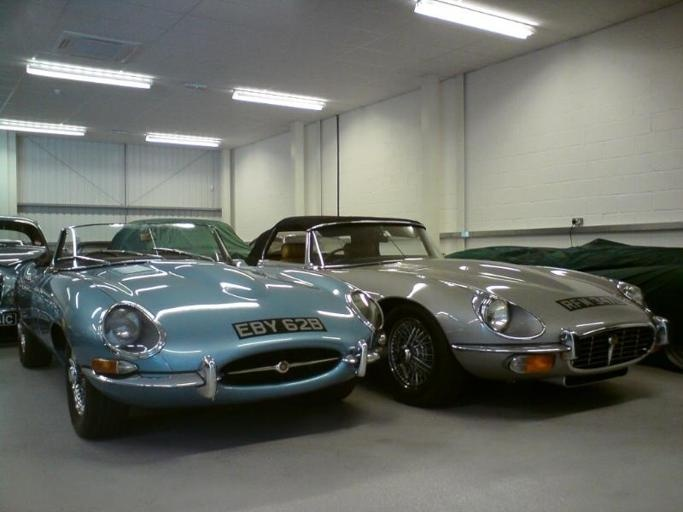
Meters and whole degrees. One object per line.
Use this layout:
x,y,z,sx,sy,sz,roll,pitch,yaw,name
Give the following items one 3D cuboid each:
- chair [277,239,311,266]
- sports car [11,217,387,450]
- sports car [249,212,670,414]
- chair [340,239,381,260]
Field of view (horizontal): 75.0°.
-0.407,-0.040,3.736,0.184,0.189,0.186,1,8,-13,chair
-0.876,0.345,2.610,2.040,1.134,1.297,2,4,35,sports car
0.665,0.330,3.083,1.344,0.762,2.409,2,0,-40,sports car
0.166,-0.031,3.621,0.195,0.215,0.201,-3,-3,38,chair
